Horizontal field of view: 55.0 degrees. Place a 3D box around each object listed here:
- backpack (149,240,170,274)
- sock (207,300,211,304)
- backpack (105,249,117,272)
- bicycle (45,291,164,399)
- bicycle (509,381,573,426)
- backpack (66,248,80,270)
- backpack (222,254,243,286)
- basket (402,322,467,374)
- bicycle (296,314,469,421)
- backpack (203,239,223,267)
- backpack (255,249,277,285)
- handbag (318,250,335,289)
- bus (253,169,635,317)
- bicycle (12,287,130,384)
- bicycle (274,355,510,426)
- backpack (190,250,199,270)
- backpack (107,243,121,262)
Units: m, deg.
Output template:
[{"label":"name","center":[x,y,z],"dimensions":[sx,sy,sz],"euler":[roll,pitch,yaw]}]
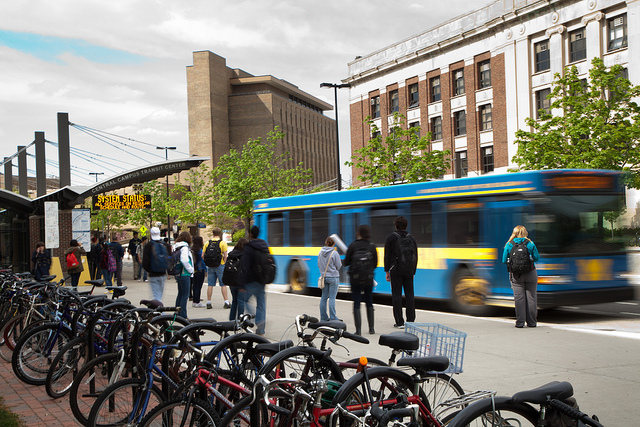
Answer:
[{"label":"backpack","center":[-3.667,0.989,14.075],"dimensions":[0.462,0.730,0.240],"euler":[-1,-1,-20]},{"label":"sock","center":[-3.175,2.522,17.528],"dimensions":[0.097,0.088,0.093],"euler":[0,-10,-4]},{"label":"backpack","center":[-7.685,1.730,22.649],"dimensions":[0.346,0.835,0.518],"euler":[-2,-1,-6]},{"label":"bicycle","center":[-2.755,2.051,9.248],"dimensions":[1.235,1.163,2.003],"euler":[4,-2,38]},{"label":"bicycle","center":[2.094,1.783,5.803],"dimensions":[0.593,0.320,0.320],"euler":[-3,2,-23]},{"label":"backpack","center":[-8.225,1.587,20.429],"dimensions":[0.344,0.490,0.509],"euler":[-5,-13,-1]},{"label":"backpack","center":[-1.743,1.161,12.539],"dimensions":[0.321,0.647,0.826],"euler":[-1,-2,-26]},{"label":"basket","center":[1.315,1.433,6.955],"dimensions":[0.676,0.406,0.659],"euler":[3,-2,-23]},{"label":"bicycle","center":[0.713,1.663,6.637],"dimensions":[1.683,0.973,1.013],"euler":[9,-15,-20]},{"label":"backpack","center":[-3.015,1.093,17.618],"dimensions":[0.578,0.784,0.480],"euler":[6,8,23]},{"label":"backpack","center":[-1.089,1.065,12.331],"dimensions":[0.246,0.705,0.419],"euler":[-3,-2,33]},{"label":"handbag","center":[0.116,1.222,13.492],"dimensions":[0.368,0.844,0.187],"euler":[-2,-1,21]},{"label":"bus","center":[1.565,0.573,20.385],"dimensions":[4.634,3.872,15.162],"euler":[0,-3,-33]},{"label":"bicycle","center":[-3.854,1.993,10.111],"dimensions":[1.553,1.501,2.561],"euler":[-3,-6,27]},{"label":"bicycle","center":[0.644,1.825,6.135],"dimensions":[1.965,1.091,0.935],"euler":[2,-11,-16]},{"label":"backpack","center":[-3.663,1.369,18.036],"dimensions":[0.343,0.456,0.167],"euler":[7,12,29]},{"label":"backpack","center":[-7.914,1.474,23.504],"dimensions":[0.626,0.639,0.474],"euler":[-13,-5,44]}]
